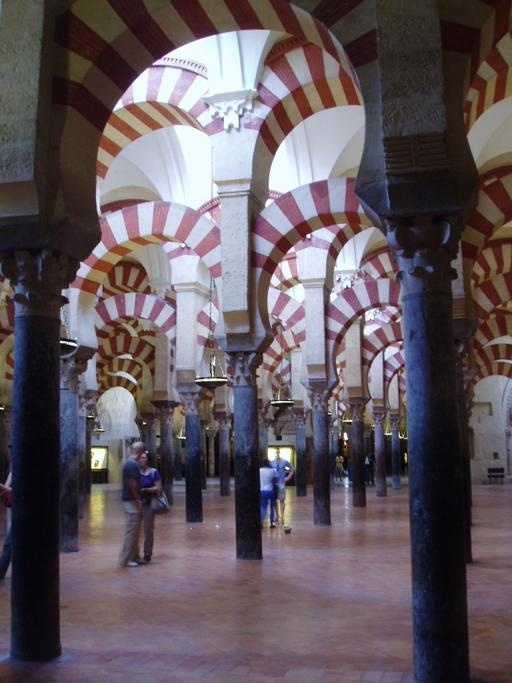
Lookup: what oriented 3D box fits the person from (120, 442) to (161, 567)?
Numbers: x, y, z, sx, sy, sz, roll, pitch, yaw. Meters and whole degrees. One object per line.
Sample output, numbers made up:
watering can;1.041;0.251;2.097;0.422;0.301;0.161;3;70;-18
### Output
person;-1.226;1.699;6.651;0.403;1.232;0.750;1;-6;-9
